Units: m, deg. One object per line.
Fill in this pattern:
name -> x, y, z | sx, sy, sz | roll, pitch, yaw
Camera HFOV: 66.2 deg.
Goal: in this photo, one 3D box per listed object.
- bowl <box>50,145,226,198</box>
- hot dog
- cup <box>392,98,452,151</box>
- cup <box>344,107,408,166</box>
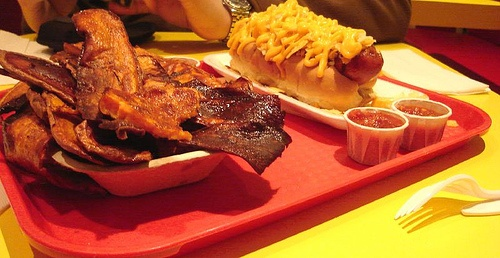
bowl -> -0.455, 0.201, 1.598 | 0.762, 0.122, 0.595 | -10, -7, 9
hot dog -> 0.244, -0.446, 2.081 | 0.880, 0.304, 0.490 | 22, 37, 34
cup -> 0.821, -0.033, 1.798 | 0.278, 0.173, 0.253 | 2, 24, -1
cup -> 0.561, -0.001, 1.707 | 0.278, 0.152, 0.265 | 0, 21, 0
